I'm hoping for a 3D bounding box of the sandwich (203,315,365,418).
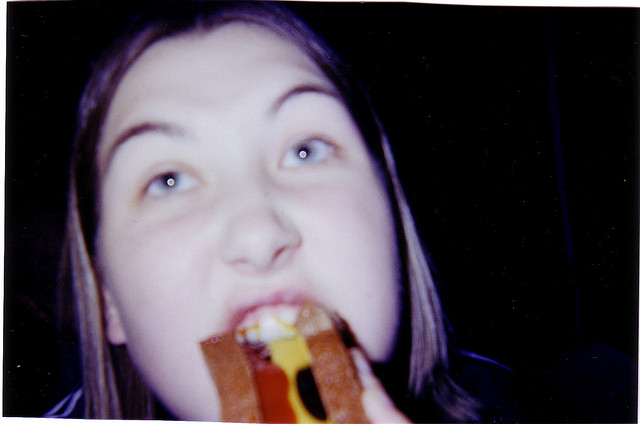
[{"bbox_3d":[-0.123,0.651,2.349,0.449,0.480,0.123,-7,2,8],"label":"sandwich"}]
